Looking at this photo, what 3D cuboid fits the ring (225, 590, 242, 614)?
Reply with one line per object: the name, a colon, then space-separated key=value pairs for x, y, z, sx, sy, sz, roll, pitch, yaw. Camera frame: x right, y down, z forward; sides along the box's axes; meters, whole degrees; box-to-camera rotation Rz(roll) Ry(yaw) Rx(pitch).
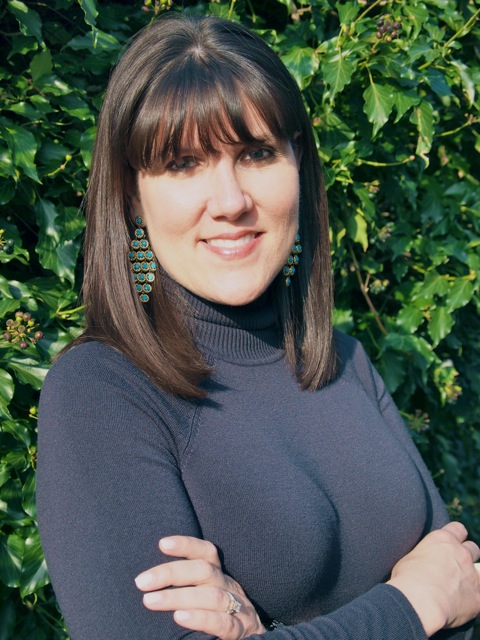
ring: x=-0.011 y=0.472 z=1.054 sx=0.015 sy=0.032 sz=0.025 roll=-12 pitch=2 yaw=4
